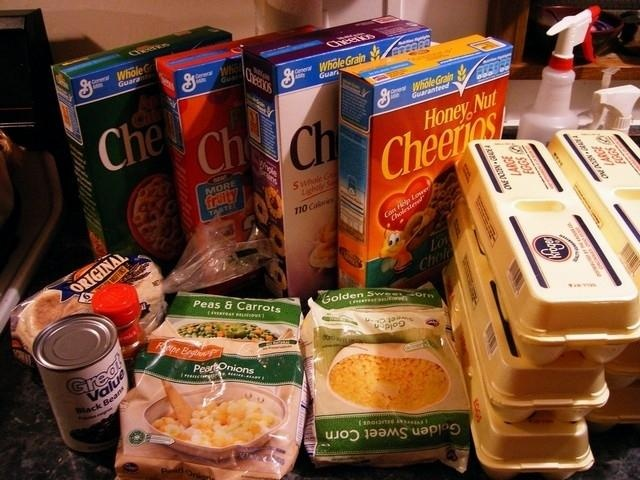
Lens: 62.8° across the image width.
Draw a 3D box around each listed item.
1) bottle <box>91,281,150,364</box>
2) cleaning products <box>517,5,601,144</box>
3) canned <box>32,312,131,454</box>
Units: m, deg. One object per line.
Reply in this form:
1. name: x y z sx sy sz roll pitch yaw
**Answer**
1. bottle: -0.279 0.104 0.741 0.059 0.128 0.067 17 33 19
2. cleaning products: 0.420 -0.279 0.951 0.081 0.263 0.128 -8 27 -14
3. canned: -0.308 0.193 0.708 0.099 0.168 0.092 -19 38 -23
